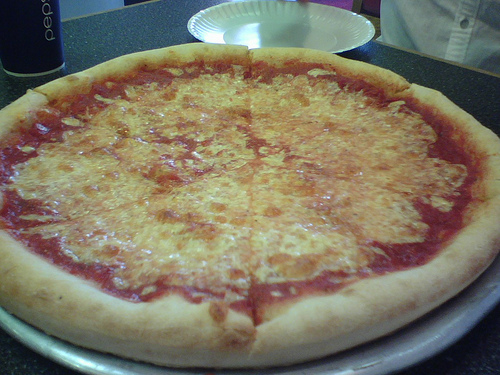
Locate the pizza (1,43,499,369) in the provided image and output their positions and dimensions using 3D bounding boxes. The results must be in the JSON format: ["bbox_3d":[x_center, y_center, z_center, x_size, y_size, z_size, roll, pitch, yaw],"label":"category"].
[{"bbox_3d":[-0.003,-0.052,1.058,1.042,0.195,0.887,-14,55,-10],"label":"pizza"}]
